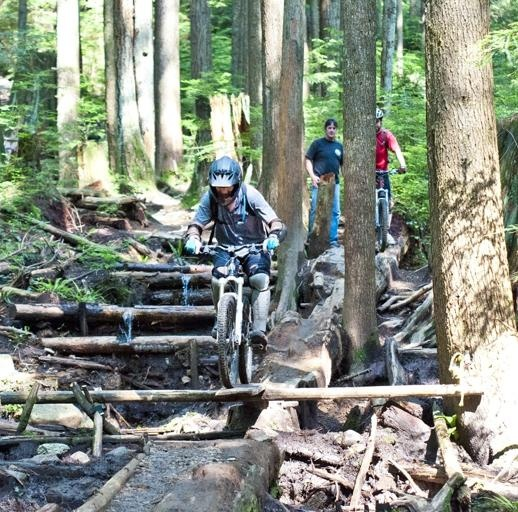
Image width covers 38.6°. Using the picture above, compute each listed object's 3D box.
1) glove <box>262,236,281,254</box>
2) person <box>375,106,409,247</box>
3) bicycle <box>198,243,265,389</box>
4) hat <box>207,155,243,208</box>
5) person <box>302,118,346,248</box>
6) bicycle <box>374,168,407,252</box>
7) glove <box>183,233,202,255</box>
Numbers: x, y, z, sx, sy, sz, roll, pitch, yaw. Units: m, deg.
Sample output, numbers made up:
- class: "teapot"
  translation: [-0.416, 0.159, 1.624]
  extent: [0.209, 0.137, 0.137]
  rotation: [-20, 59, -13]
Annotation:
- class: "glove"
  translation: [0.135, -0.124, 7.521]
  extent: [0.188, 0.138, 0.081]
  rotation: [-55, 23, -19]
- class: "person"
  translation: [2.288, -1.413, 13.562]
  extent: [0.927, 2.388, 0.767]
  rotation: [2, 16, 24]
- class: "bicycle"
  translation: [-0.263, 0.719, 7.534]
  extent: [0.542, 1.607, 1.253]
  rotation: [0, 9, 17]
- class: "hat"
  translation: [-0.323, -0.810, 7.589]
  extent: [0.294, 0.466, 0.445]
  rotation: [6, 27, 18]
- class: "person"
  translation: [1.185, -1.288, 13.298]
  extent: [0.637, 2.306, 0.987]
  rotation: [-1, 9, 12]
- class: "bicycle"
  translation: [2.331, -0.757, 13.829]
  extent: [0.723, 1.228, 1.805]
  rotation: [-2, -2, 1]
- class: "glove"
  translation: [-0.667, -0.115, 7.594]
  extent: [0.170, 0.180, 0.314]
  rotation: [-4, 10, -4]
